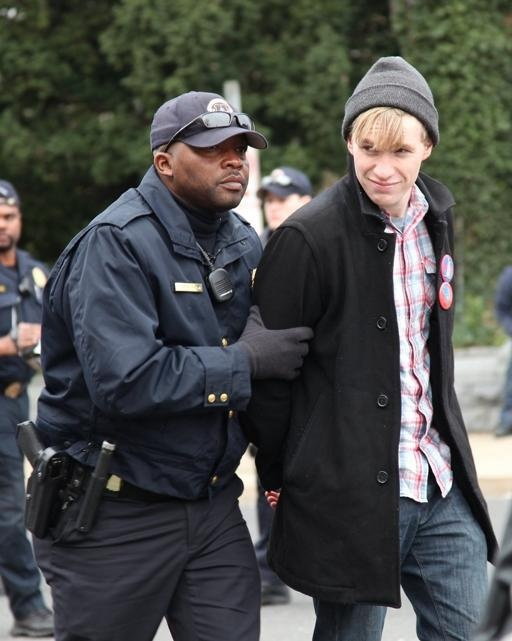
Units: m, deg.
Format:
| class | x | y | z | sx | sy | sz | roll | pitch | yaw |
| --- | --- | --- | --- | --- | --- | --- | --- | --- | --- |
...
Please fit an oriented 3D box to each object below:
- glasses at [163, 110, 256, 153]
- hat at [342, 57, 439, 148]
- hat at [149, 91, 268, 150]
| class | x | y | z | sx | sy | sz | roll | pitch | yaw |
| --- | --- | --- | --- | --- | --- | --- | --- | --- | --- |
| glasses | -0.131 | -0.536 | 3.553 | 0.170 | 0.043 | 0.170 | -29 | -17 | 27 |
| hat | 0.389 | -0.640 | 3.448 | 0.277 | 0.259 | 0.242 | -2 | 9 | 4 |
| hat | -0.139 | -0.595 | 3.592 | 0.298 | 0.137 | 0.196 | -5 | -3 | 32 |
